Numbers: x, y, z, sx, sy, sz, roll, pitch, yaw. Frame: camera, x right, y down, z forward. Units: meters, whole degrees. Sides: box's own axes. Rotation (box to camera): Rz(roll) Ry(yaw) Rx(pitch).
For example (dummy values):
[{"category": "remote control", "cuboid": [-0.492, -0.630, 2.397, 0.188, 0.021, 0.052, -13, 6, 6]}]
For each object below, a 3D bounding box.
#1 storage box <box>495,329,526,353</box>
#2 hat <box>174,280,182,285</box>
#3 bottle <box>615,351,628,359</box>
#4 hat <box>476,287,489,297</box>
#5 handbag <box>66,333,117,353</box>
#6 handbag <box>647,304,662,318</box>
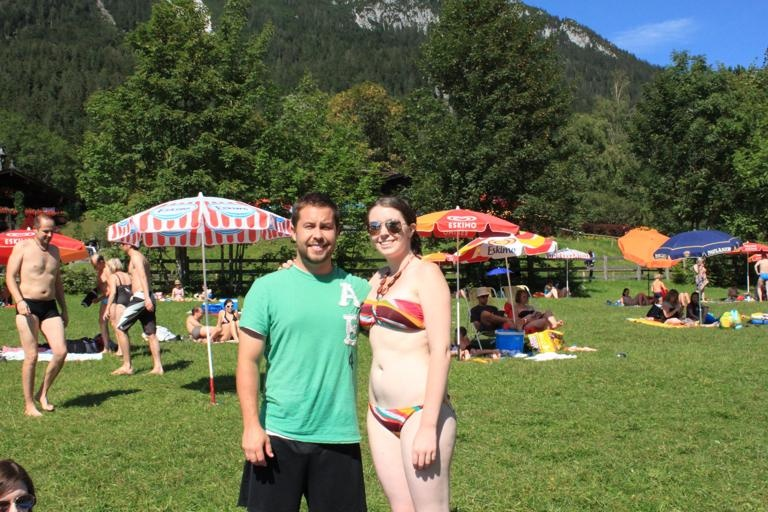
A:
[{"category": "storage box", "cuboid": [3.758, 2.548, 24.857, 0.669, 0.506, 0.678, -1, -2, 19]}, {"category": "hat", "cuboid": [-9.208, 1.174, 37.274, 0.194, 0.196, 0.256, -14, 12, -32]}, {"category": "bottle", "cuboid": [6.933, 2.900, 24.190, 0.515, 0.165, 0.187, 6, 18, 0]}, {"category": "hat", "cuboid": [3.025, 1.114, 25.605, 0.293, 0.134, 0.304, -7, -8, -32]}, {"category": "handbag", "cuboid": [-8.602, 2.606, 24.530, 0.931, 0.313, 0.309, 3, 32, -16]}, {"category": "handbag", "cuboid": [10.214, 2.116, 31.193, 0.587, 0.754, 0.429, 3, -7, 13]}]
